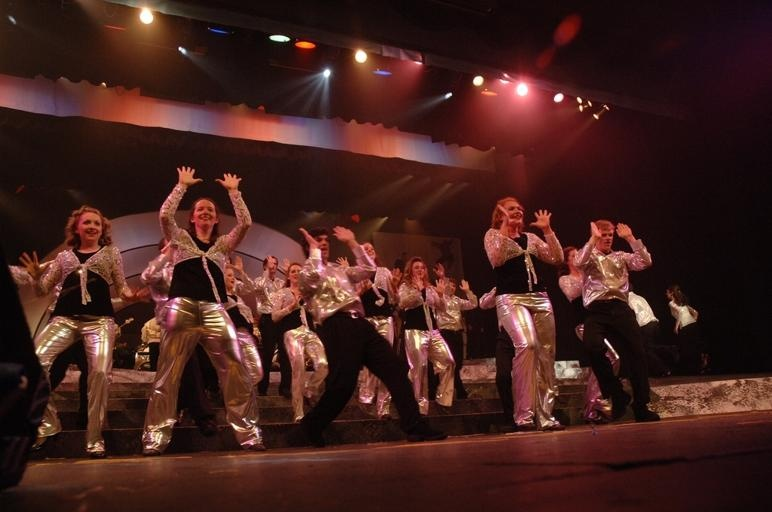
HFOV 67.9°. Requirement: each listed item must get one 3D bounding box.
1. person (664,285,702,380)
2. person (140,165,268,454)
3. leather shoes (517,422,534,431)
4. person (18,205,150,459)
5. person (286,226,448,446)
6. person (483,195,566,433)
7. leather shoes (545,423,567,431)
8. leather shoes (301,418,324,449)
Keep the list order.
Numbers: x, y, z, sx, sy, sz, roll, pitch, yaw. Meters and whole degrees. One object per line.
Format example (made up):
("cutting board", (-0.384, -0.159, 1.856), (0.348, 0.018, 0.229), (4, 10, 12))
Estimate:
("person", (5.820, 1.417, 11.128), (0.511, 1.655, 0.693), (-7, -17, 28))
("person", (-1.907, 0.548, 6.120), (1.116, 2.989, 0.492), (3, -15, -8))
("leather shoes", (1.608, 1.967, 6.629), (0.207, 0.094, 0.159), (-2, -15, 11))
("person", (-3.427, 0.759, 6.327), (0.963, 2.718, 0.451), (6, -15, -18))
("person", (-0.294, 0.772, 5.854), (1.257, 2.207, 0.563), (2, -15, -4))
("person", (1.662, 0.636, 6.856), (0.948, 2.750, 0.588), (2, -15, -3))
("leather shoes", (1.918, 1.933, 6.542), (0.236, 0.090, 0.327), (-4, -16, 17))
("leather shoes", (-0.718, 1.702, 5.570), (0.226, 0.271, 0.258), (3, -15, -8))
